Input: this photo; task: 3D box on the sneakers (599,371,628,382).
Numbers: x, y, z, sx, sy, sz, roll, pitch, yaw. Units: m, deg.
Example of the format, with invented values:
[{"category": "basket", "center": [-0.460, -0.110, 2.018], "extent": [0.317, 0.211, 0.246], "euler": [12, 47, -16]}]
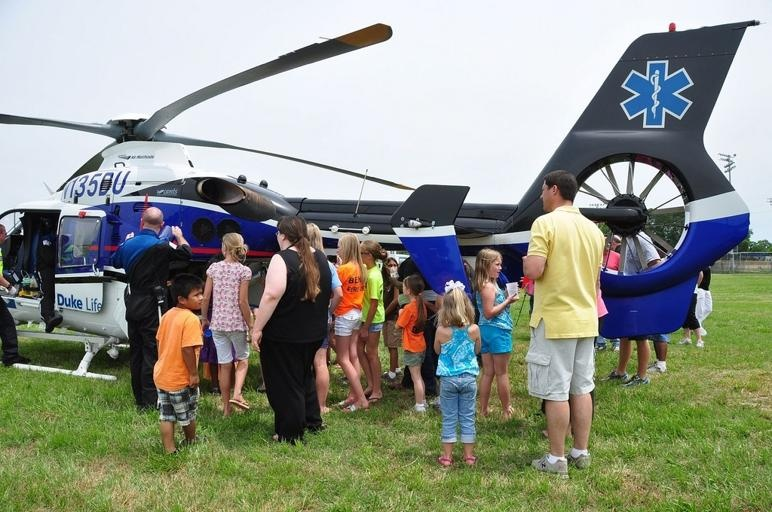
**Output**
[{"category": "sneakers", "center": [3.435, 1.827, 8.842], "extent": [0.387, 0.183, 0.140], "euler": [2, 2, 5]}]

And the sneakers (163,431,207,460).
[{"category": "sneakers", "center": [-2.155, 2.046, 6.278], "extent": [0.374, 0.253, 0.125], "euler": [-18, 23, -35]}]

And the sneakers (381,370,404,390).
[{"category": "sneakers", "center": [0.119, 1.919, 9.053], "extent": [0.382, 0.160, 0.142], "euler": [3, 0, 40]}]

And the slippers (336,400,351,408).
[{"category": "slippers", "center": [-0.564, 1.985, 7.861], "extent": [0.075, 0.089, 0.204], "euler": [4, -4, -35]}]

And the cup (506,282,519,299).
[{"category": "cup", "center": [1.562, 0.426, 7.232], "extent": [0.158, 0.156, 0.159], "euler": [2, -9, 0]}]

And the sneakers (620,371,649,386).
[{"category": "sneakers", "center": [3.499, 1.779, 8.472], "extent": [0.529, 0.219, 0.175], "euler": [0, -2, -1]}]

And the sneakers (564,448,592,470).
[{"category": "sneakers", "center": [2.024, 2.121, 6.121], "extent": [0.122, 0.143, 0.317], "euler": [0, 0, -3]}]

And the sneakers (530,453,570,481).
[{"category": "sneakers", "center": [1.699, 2.144, 6.036], "extent": [0.154, 0.181, 0.420], "euler": [-2, 6, -37]}]

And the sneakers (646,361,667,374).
[{"category": "sneakers", "center": [4.235, 1.737, 9.127], "extent": [0.143, 0.146, 0.352], "euler": [0, 1, -29]}]

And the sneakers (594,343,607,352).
[{"category": "sneakers", "center": [4.133, 1.767, 11.281], "extent": [0.233, 0.104, 0.318], "euler": [4, 3, 22]}]

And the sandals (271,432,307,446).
[{"category": "sandals", "center": [-1.090, 2.049, 6.592], "extent": [0.421, 0.177, 0.128], "euler": [-4, -2, 13]}]

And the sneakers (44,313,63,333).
[{"category": "sneakers", "center": [-5.137, 0.999, 9.048], "extent": [0.414, 0.175, 0.169], "euler": [-46, -30, 17]}]

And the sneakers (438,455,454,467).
[{"category": "sneakers", "center": [0.639, 2.186, 6.231], "extent": [0.112, 0.069, 0.198], "euler": [2, 2, -2]}]

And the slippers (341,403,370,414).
[{"category": "slippers", "center": [-0.398, 1.996, 7.680], "extent": [0.353, 0.139, 0.126], "euler": [3, -7, 9]}]
